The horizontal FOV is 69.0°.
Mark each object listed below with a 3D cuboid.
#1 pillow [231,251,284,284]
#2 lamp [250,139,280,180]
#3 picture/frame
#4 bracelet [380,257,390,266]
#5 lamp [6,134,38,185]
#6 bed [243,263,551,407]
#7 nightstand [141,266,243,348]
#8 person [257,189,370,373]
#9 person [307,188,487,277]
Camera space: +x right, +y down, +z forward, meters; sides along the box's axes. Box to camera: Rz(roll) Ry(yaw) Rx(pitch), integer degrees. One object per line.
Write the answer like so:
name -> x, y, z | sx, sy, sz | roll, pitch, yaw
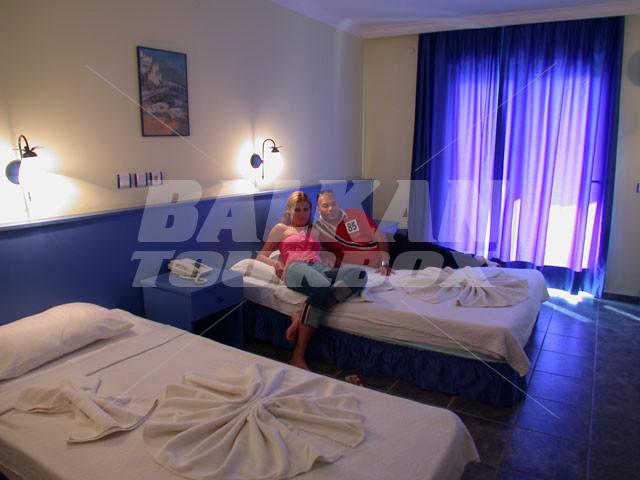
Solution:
pillow -> -0.541, 0.259, 4.025 | 0.263, 0.068, 0.265 | 14, 12, 16
lamp -> -0.505, -0.774, 4.460 | 0.102, 0.388, 0.415 | 6, 14, 28
picture/frame -> -1.212, -1.157, 3.562 | 0.030, 0.874, 0.606 | 10, 16, 32
bracelet -> 0.604, 0.213, 4.308 | 0.065, 0.074, 0.046 | 1, -6, 24
lamp -> -1.864, -0.500, 2.914 | 0.191, 0.304, 0.109 | -9, 15, -33
bed -> 0.601, 0.393, 3.536 | 1.663, 0.559, 1.148 | 5, 13, 30
nightstand -> -0.916, 0.450, 3.776 | 0.614, 0.875, 0.623 | 5, 11, 25
person -> -0.096, 0.263, 3.946 | 0.766, 1.524, 0.802 | 9, -17, -41
person -> 0.730, -0.015, 4.416 | 1.705, 0.751, 0.743 | 9, 34, 26
